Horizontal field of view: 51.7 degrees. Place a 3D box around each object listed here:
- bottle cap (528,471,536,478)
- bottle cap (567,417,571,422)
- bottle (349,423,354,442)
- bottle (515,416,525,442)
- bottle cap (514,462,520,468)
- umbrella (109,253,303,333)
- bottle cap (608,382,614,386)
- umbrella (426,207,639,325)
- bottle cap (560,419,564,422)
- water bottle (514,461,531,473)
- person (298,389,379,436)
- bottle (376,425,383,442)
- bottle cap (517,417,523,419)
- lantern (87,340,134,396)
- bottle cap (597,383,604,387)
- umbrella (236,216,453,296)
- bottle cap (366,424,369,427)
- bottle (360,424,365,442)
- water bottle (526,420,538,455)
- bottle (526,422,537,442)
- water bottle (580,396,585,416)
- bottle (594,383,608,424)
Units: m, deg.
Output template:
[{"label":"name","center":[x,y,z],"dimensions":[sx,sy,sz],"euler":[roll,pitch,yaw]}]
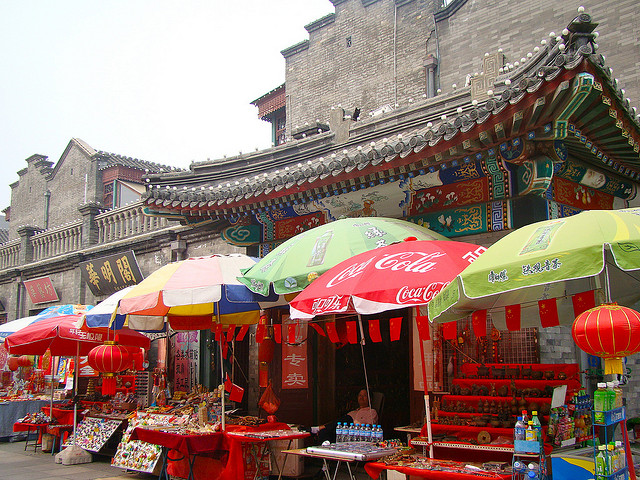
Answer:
[{"label":"bottle cap","center":[2.377,2.617,7.421],"dimensions":[0.077,0.070,0.034],"euler":[3,-17,-18]},{"label":"bottle cap","center":[3.107,2.230,8.251],"dimensions":[0.032,0.019,0.037],"euler":[-5,-2,-2]},{"label":"bottle","center":[0.414,2.539,8.656],"dimensions":[0.065,0.173,0.191],"euler":[-3,-16,2]},{"label":"bottle","center":[2.339,2.203,7.714],"dimensions":[0.113,0.264,0.162],"euler":[-14,-20,34]},{"label":"bottle cap","center":[2.231,2.532,7.483],"dimensions":[0.044,0.045,0.013],"euler":[-9,-18,11]},{"label":"umbrella","center":[-1.865,0.822,10.052],"dimensions":[1.854,0.728,1.909],"euler":[-3,-6,-24]},{"label":"bottle cap","center":[3.172,1.559,7.204],"dimensions":[0.059,0.038,0.059],"euler":[14,-15,-43]},{"label":"umbrella","center":[2.370,0.163,6.910],"dimensions":[1.340,0.478,1.402],"euler":[-22,-11,13]},{"label":"bottle cap","center":[2.988,2.212,8.153],"dimensions":[0.030,0.034,0.032],"euler":[-5,9,-44]},{"label":"water bottle","center":[2.285,2.555,7.483],"dimensions":[0.126,0.051,0.100],"euler":[4,-11,36]},{"label":"person","center":[0.310,2.649,9.953],"dimensions":[1.313,0.745,0.530],"euler":[5,4,-43]},{"label":"bottle","center":[0.766,2.508,8.618],"dimensions":[0.071,0.181,0.207],"euler":[-5,-17,9]},{"label":"bottle cap","center":[2.385,2.109,7.869],"dimensions":[0.051,0.033,0.052],"euler":[-1,-9,3]},{"label":"lantern","center":[-3.321,1.980,10.545],"dimensions":[0.599,0.847,0.654],"euler":[-3,-16,0]},{"label":"bottle cap","center":[2.969,1.527,6.999],"dimensions":[0.047,0.024,0.048],"euler":[0,-10,0]},{"label":"umbrella","center":[0.373,0.106,9.419],"dimensions":[2.063,1.358,2.232],"euler":[-7,-9,44]},{"label":"bottle cap","center":[0.623,2.417,8.684],"dimensions":[0.035,0.034,0.023],"euler":[0,5,0]},{"label":"bottle","center":[0.546,2.496,8.561],"dimensions":[0.065,0.187,0.135],"euler":[-3,-16,2]},{"label":"water bottle","center":[2.460,2.283,7.676],"dimensions":[0.143,0.363,0.244],"euler":[-9,-17,20]},{"label":"bottle","center":[2.448,2.208,7.620],"dimensions":[0.116,0.207,0.125],"euler":[-2,-16,-1]},{"label":"water bottle","center":[3.347,2.107,8.438],"dimensions":[0.048,0.237,0.094],"euler":[-16,-21,39]},{"label":"bottle","center":[2.997,1.713,6.977],"dimensions":[0.181,0.436,0.184],"euler":[2,-10,0]}]
